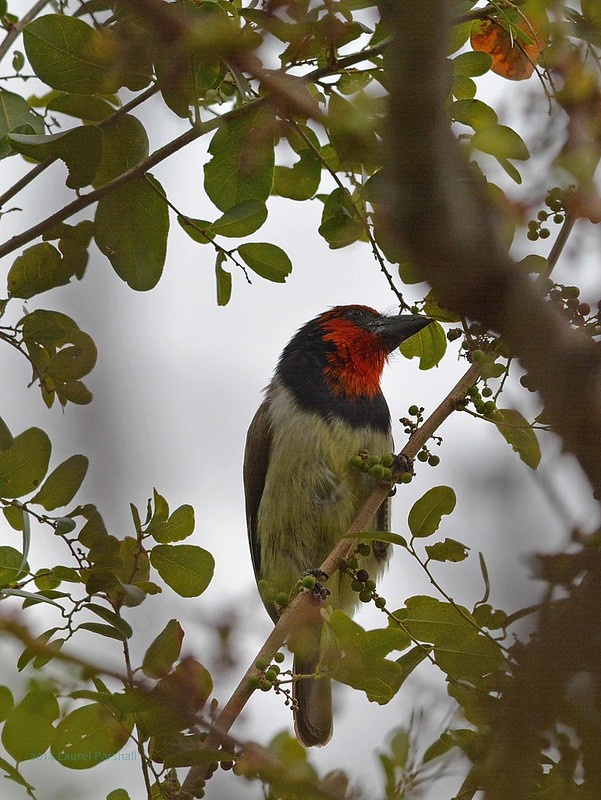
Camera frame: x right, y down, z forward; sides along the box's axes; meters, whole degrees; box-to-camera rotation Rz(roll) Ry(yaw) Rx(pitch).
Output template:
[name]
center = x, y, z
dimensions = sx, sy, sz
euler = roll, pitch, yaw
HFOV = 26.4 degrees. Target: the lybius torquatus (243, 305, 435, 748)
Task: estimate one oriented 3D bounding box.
[lybius torquatus]
center = 0.032, 0.354, 3.980
dimensions = 0.388, 0.564, 1.414
euler = 6, -73, -23
